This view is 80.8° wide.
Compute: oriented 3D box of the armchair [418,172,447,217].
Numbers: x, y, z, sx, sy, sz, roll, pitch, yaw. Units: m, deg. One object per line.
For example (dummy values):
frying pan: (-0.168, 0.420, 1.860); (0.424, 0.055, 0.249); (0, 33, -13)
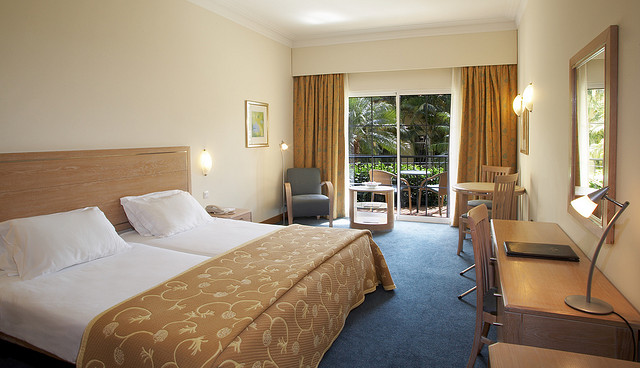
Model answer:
armchair: (2.196, 0.151, 7.569); (0.614, 0.743, 0.602); (-1, 3, -15)

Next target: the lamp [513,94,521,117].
lamp: (3.286, -1.300, 6.251); (0.090, 0.262, 0.265); (-1, -12, 7)

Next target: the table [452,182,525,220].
table: (2.556, 0.145, 5.954); (0.783, 0.523, 0.769); (1, 1, 32)

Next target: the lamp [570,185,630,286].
lamp: (2.091, 0.412, 2.837); (0.330, 0.830, 0.437); (5, 11, 37)

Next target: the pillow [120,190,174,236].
pillow: (-2.141, 0.379, 4.614); (0.546, 0.384, 0.059); (-15, -17, -36)

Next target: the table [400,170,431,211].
table: (1.915, 0.105, 7.437); (0.762, 0.838, 0.736); (-1, 7, 13)

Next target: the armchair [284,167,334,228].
armchair: (-0.213, 0.235, 7.243); (0.922, 1.016, 0.930); (-1, 8, -1)

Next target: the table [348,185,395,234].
table: (0.985, 0.473, 7.202); (0.942, 0.834, 0.988); (0, -1, -1)

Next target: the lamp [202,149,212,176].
lamp: (-1.716, -0.329, 5.770); (0.080, 0.392, 0.231); (0, 9, 16)

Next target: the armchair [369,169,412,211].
armchair: (1.670, 0.136, 7.709); (0.650, 0.715, 0.626); (0, 2, -25)
